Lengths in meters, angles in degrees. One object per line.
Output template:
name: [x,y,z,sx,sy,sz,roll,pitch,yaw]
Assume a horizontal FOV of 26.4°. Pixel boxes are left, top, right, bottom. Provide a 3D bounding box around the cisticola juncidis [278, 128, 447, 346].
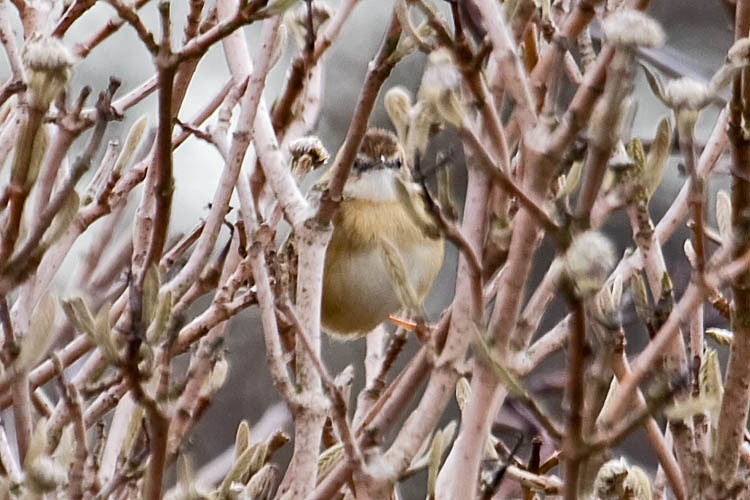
cisticola juncidis: [-0.002,-0.068,2.739,0.223,0.457,0.406,0,19,-4]
